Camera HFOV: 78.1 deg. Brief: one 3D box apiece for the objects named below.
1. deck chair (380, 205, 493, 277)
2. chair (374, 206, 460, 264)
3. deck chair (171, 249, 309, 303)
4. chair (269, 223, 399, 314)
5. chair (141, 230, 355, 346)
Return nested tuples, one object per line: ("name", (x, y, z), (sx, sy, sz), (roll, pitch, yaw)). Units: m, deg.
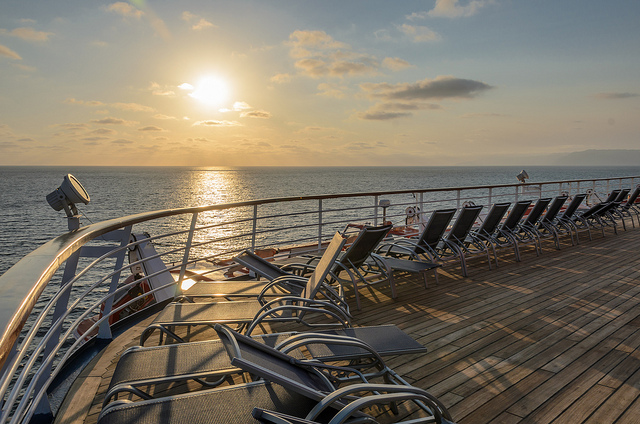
("deck chair", (1.766, 0.302, 5.402), (0.910, 0.738, 1.560), (0, 2, -41))
("chair", (1.305, 0.264, 5.530), (1.371, 0.633, 0.771), (2, 2, 43))
("deck chair", (-0.711, 0.622, 3.686), (1.035, 0.256, 0.623), (0, 0, -1))
("chair", (0.050, 0.529, 4.723), (1.630, 0.677, 0.815), (2, 2, 34))
("chair", (-0.717, 0.688, 3.222), (1.953, 0.795, 0.910), (2, 0, -2))
